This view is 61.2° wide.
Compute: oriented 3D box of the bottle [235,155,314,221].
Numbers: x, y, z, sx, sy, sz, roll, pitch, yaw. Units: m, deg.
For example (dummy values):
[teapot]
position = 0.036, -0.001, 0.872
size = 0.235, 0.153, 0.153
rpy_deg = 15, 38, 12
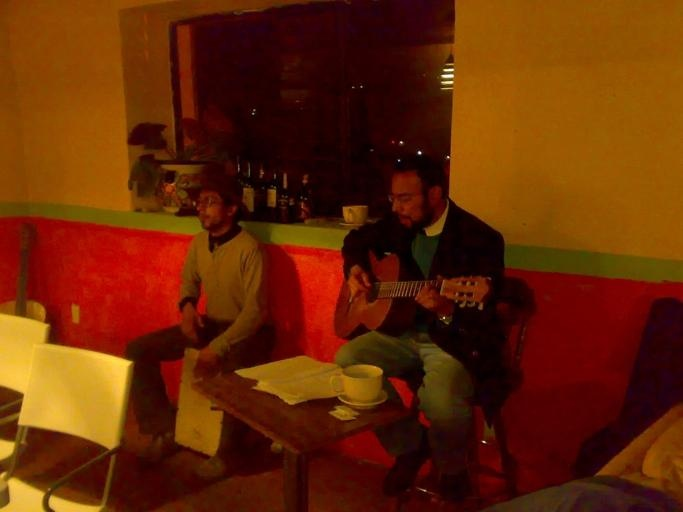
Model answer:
[bottle]
position = -0.364, -0.350, 3.180
size = 0.444, 0.306, 0.234
rpy_deg = 3, 13, -1

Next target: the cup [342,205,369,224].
[cup]
position = 0.065, -0.220, 2.942
size = 0.103, 0.072, 0.086
rpy_deg = -8, 18, -18

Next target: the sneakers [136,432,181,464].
[sneakers]
position = -1.029, 1.074, 3.226
size = 0.122, 0.042, 0.168
rpy_deg = 29, 35, 25

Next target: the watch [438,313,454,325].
[watch]
position = 0.464, 0.276, 2.549
size = 0.052, 0.038, 0.100
rpy_deg = -1, -2, 11
